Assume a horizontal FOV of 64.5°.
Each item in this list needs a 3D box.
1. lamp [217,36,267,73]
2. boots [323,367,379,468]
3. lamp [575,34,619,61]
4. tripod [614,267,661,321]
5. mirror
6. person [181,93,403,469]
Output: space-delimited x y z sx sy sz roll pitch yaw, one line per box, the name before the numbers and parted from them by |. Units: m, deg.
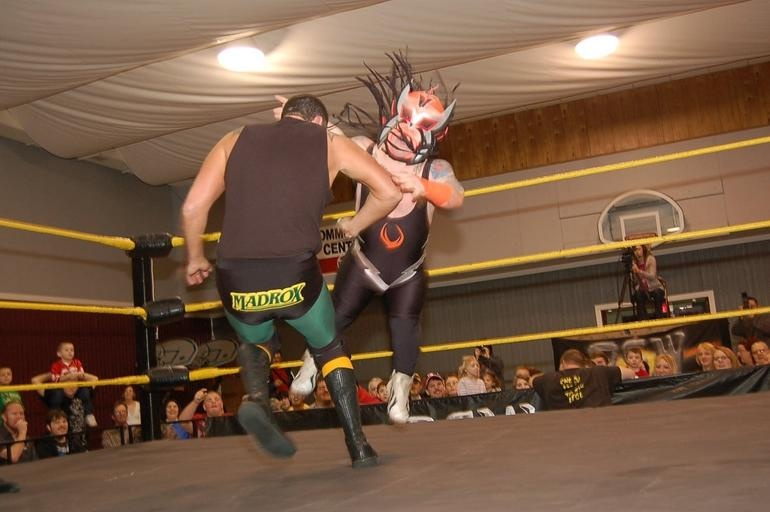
lamp | -1.544 -2.116 6.509 0.509 0.155 0.467 -4 -3 -13
boots | -0.168 0.765 2.954 0.210 0.455 0.197 -5 -4 -8
lamp | 2.429 -2.413 7.016 0.476 0.171 0.499 -7 -4 30
tripod | 3.384 0.512 8.109 0.495 0.829 0.458 39 -43 -21
mirror | 3.455 -0.531 8.096 0.886 0.595 0.062 -3 -8 15
person | -0.452 0.097 3.060 1.066 1.836 0.420 -5 -4 -12
